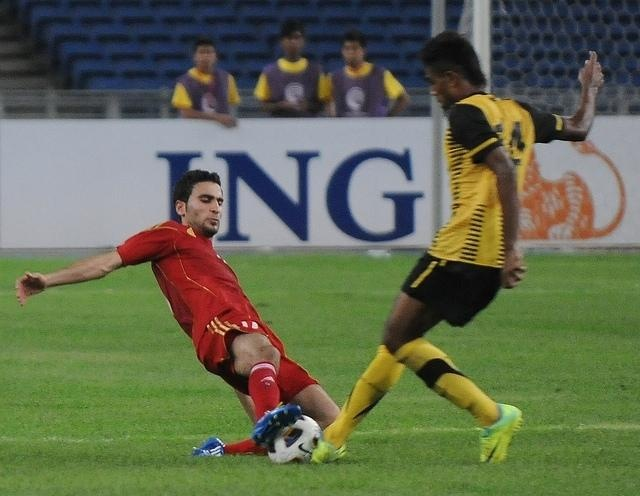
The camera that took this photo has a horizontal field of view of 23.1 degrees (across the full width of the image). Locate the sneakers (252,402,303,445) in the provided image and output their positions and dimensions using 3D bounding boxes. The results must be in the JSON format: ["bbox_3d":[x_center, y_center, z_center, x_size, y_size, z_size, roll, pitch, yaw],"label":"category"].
[{"bbox_3d":[-0.303,1.170,10.503,0.399,0.170,0.201,-32,-30,8],"label":"sneakers"}]

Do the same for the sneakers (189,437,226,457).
[{"bbox_3d":[-0.775,1.367,10.820,0.227,0.112,0.196,0,5,2],"label":"sneakers"}]

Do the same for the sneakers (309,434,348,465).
[{"bbox_3d":[0.036,1.390,10.686,0.280,0.093,0.125,-5,-3,13],"label":"sneakers"}]

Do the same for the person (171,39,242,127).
[{"bbox_3d":[-1.184,-1.684,16.002,0.701,0.900,0.459,-1,6,-3],"label":"person"}]

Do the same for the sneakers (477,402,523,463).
[{"bbox_3d":[1.209,1.280,10.713,0.292,0.468,0.180,1,36,-14],"label":"sneakers"}]

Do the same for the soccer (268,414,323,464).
[{"bbox_3d":[-0.165,1.319,10.819,0.430,0.323,0.277,5,0,-13],"label":"soccer"}]
